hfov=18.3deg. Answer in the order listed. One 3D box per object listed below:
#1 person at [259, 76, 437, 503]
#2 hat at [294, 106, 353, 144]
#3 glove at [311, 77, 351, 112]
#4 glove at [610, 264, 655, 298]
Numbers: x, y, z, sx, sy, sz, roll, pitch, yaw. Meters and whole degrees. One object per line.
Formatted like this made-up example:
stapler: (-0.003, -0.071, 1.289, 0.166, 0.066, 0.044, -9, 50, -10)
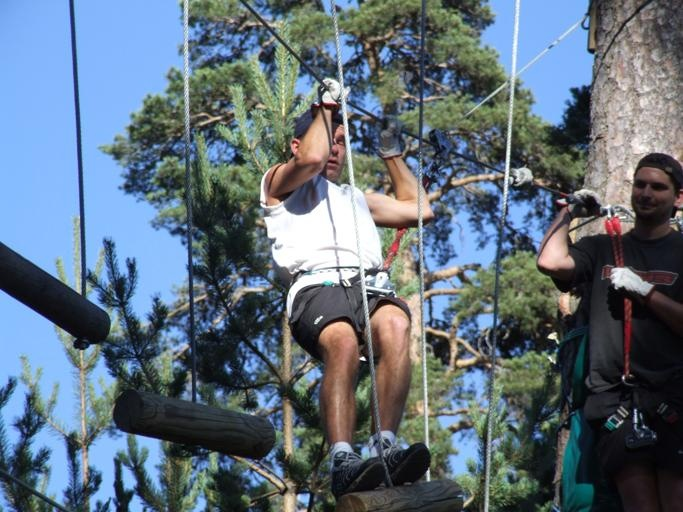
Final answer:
person: (0.029, 0.362, 19.771, 1.538, 3.796, 1.005, 2, -25, -8)
hat: (-0.233, -1.275, 20.221, 0.285, 0.333, 0.367, 14, -51, -24)
glove: (-0.071, -1.490, 19.914, 0.252, 0.169, 0.324, 10, -11, -35)
glove: (2.637, 0.281, 19.282, 0.332, 0.241, 0.136, 22, 4, 12)
